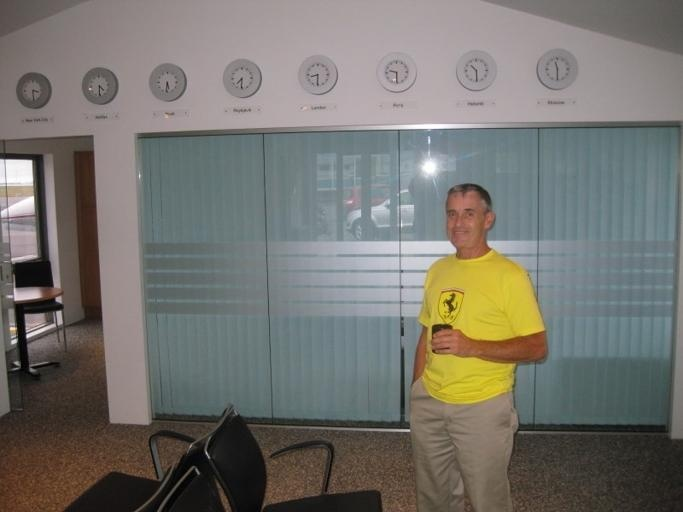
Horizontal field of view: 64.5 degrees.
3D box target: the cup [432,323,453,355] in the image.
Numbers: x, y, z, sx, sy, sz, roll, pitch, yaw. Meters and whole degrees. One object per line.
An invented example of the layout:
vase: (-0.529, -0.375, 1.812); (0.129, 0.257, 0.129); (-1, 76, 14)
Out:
cup: (0.596, 0.490, 3.204); (0.128, 0.160, 0.211); (-3, 6, 11)
